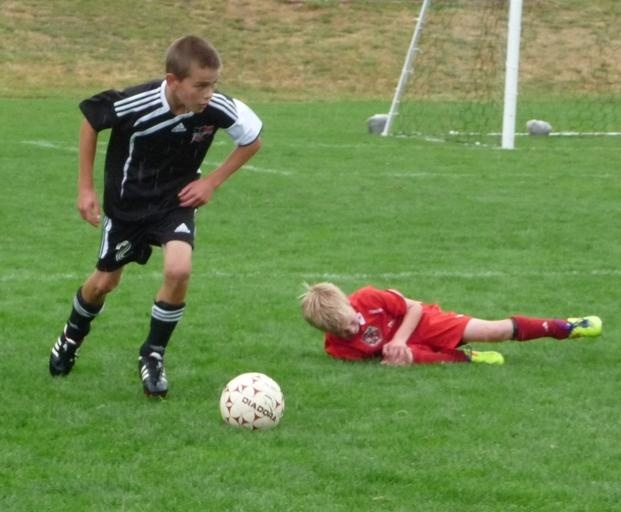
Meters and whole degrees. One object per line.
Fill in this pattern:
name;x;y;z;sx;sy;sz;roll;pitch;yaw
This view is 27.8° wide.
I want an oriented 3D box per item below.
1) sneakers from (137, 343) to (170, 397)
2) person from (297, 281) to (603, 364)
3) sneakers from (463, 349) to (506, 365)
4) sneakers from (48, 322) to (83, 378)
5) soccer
sneakers;-1.097;0.820;8.898;0.217;0.329;0.278;7;12;-15
person;0.841;0.549;9.337;1.464;0.452;0.918;-3;-13;-22
sneakers;1.275;0.758;9.301;0.229;0.040;0.125;4;25;-4
sneakers;-1.703;0.661;9.086;0.173;0.412;0.196;24;-35;-19
soccer;-0.399;0.980;8.703;0.403;0.355;0.392;-11;16;-42
